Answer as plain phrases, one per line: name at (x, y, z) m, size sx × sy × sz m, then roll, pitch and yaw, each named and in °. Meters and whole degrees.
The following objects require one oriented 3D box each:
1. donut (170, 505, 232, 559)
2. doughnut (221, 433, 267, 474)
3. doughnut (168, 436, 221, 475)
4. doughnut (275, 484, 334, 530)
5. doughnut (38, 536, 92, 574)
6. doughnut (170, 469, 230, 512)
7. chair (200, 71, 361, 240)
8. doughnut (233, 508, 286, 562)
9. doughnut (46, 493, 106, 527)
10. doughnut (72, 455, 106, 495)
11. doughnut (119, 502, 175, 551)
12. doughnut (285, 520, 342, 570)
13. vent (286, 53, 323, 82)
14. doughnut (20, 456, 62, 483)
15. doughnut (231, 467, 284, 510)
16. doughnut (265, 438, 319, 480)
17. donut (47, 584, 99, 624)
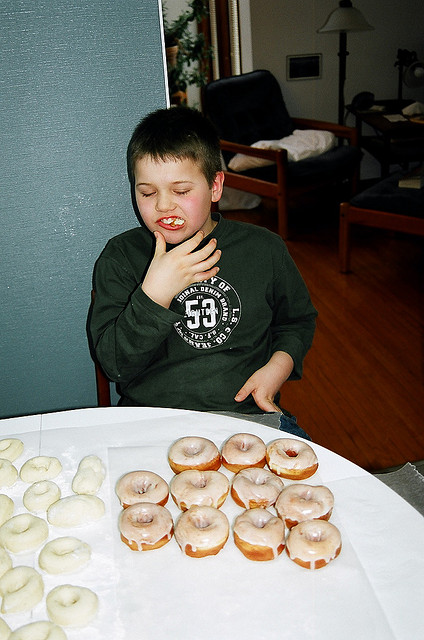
donut at (-0.013, 0.248, 0.613) m, size 0.068 × 0.030 × 0.072 m, roll 10°, pitch 18°, yaw 23°
doughnut at (0.048, 0.189, 0.754) m, size 0.068 × 0.027 × 0.071 m, roll 3°, pitch 24°, yaw 10°
doughnut at (-0.025, 0.197, 0.739) m, size 0.061 × 0.039 × 0.067 m, roll 8°, pitch 24°, yaw 31°
doughnut at (0.115, 0.232, 0.658) m, size 0.074 × 0.038 × 0.067 m, roll -3°, pitch 18°, yaw -6°
doughnut at (-0.168, 0.268, 0.596) m, size 0.059 × 0.019 × 0.053 m, roll -9°, pitch 21°, yaw -12°
doughnut at (-0.015, 0.227, 0.690) m, size 0.081 × 0.039 × 0.086 m, roll -3°, pitch 9°, yaw -6°
chair at (0.565, -1.405, 4.231) m, size 1.240 × 1.029 × 1.137 m, roll -15°, pitch 36°, yaw -15°
doughnut at (0.062, 0.251, 0.599) m, size 0.049 × 0.023 × 0.059 m, roll 10°, pitch 3°, yaw 22°
doughnut at (-0.169, 0.238, 0.651) m, size 0.051 × 0.016 × 0.038 m, roll -1°, pitch 20°, yaw -21°
doughnut at (-0.168, 0.212, 0.720) m, size 0.040 × 0.025 × 0.072 m, roll 15°, pitch 28°, yaw -8°
doughnut at (-0.077, 0.242, 0.619) m, size 0.059 × 0.032 × 0.063 m, roll -9°, pitch 20°, yaw -11°
doughnut at (0.114, 0.249, 0.590) m, size 0.057 × 0.025 × 0.061 m, roll 8°, pitch 24°, yaw 31°
vent at (0.879, -2.413, 4.980) m, size 0.342 × 0.229 × 0.054 m, roll -5°, pitch 20°, yaw 0°
doughnut at (-0.240, 0.211, 0.736) m, size 0.057 × 0.022 × 0.040 m, roll -11°, pitch 21°, yaw -17°
doughnut at (0.059, 0.220, 0.687) m, size 0.070 × 0.036 × 0.064 m, roll -8°, pitch 20°, yaw -8°
doughnut at (0.111, 0.194, 0.734) m, size 0.068 × 0.030 × 0.075 m, roll -11°, pitch 21°, yaw -17°
donut at (-0.141, 0.294, 0.530) m, size 0.051 × 0.046 × 0.016 m, roll -33°, pitch -9°, yaw 25°
